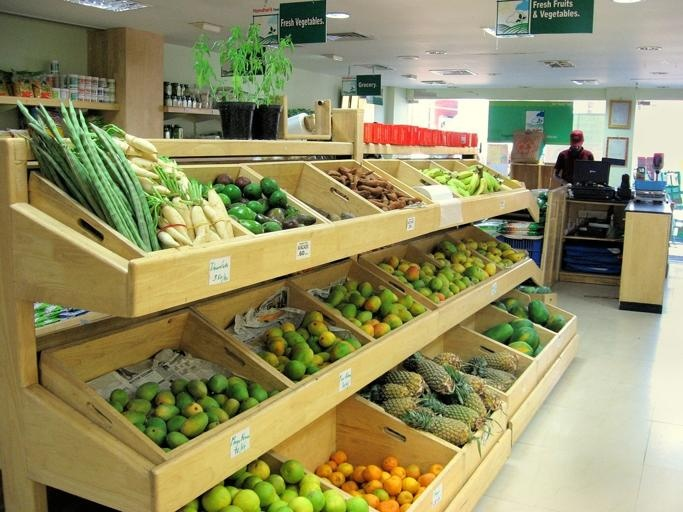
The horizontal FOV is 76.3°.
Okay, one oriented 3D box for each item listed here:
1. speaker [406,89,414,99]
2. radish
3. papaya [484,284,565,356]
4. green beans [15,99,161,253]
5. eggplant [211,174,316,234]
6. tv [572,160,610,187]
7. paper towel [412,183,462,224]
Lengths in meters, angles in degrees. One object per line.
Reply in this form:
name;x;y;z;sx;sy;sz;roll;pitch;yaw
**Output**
speaker;2.630;-6.134;16.482;0.305;0.276;0.184;-7;15;-28
radish;-0.484;-0.210;1.483;0.418;0.397;0.287;11;19;33
papaya;1.635;0.571;3.895;0.530;0.294;0.966;10;21;32
green beans;-0.672;-0.230;1.324;0.392;0.446;0.252;7;15;17
eggplant;-0.355;-0.225;1.835;0.431;0.288;0.434;13;19;35
tv;4.273;-1.386;7.541;0.650;0.500;0.447;3;12;17
paper towel;0.578;-0.343;2.759;0.228;0.256;0.296;16;18;40
